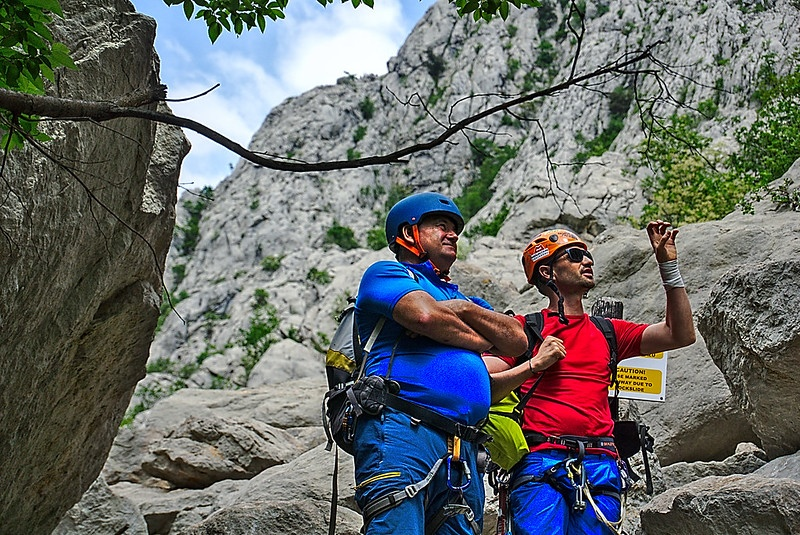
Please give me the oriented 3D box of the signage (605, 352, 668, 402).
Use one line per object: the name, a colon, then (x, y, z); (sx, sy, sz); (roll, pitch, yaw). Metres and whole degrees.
signage: (5.390, 2.481, 32.519); (1.174, 1.194, 0.128); (2, -8, 13)
